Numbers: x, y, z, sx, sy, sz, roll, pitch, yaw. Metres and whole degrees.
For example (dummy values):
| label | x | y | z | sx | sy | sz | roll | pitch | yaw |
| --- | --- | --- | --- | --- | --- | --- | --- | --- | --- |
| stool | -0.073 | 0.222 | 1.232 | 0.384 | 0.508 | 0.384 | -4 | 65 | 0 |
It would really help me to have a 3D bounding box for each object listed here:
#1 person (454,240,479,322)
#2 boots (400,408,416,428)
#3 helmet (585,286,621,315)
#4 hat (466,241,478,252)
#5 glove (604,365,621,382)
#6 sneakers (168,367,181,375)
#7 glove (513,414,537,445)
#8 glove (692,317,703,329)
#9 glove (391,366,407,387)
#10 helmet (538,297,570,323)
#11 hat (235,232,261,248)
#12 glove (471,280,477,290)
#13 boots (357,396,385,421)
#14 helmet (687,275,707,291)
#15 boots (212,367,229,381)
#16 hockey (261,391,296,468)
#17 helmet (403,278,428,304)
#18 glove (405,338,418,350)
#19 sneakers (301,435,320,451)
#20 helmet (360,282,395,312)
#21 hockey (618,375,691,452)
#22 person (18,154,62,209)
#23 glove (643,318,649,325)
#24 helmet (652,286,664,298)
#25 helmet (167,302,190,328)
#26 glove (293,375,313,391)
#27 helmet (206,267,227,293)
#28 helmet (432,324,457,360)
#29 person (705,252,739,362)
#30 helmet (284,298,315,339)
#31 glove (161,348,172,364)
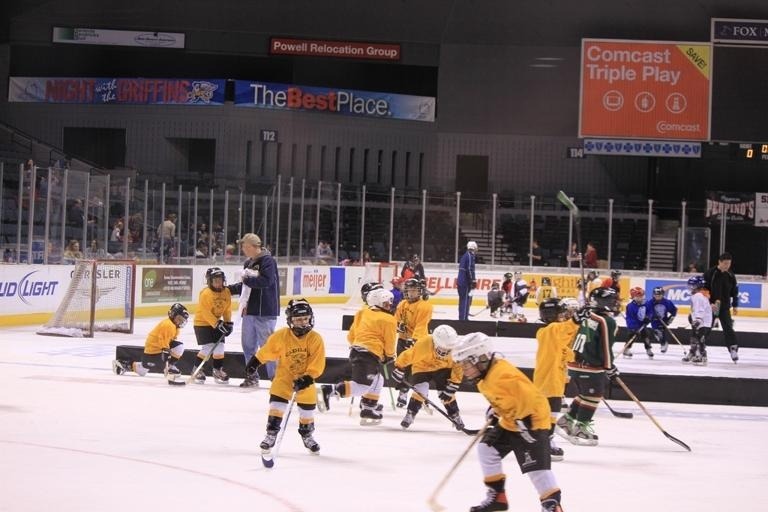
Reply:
| label | x | y | z | sx | sy | sz | roll | pitch | yaw |
| --- | --- | --- | --- | --- | --- | --- | --- | --- | --- |
| person | 2.161 | 0.608 | 23.990 | 0.458 | 2.097 | 1.453 | 2 | -3 | 6 |
| boots | 0.387 | 2.810 | 15.934 | 0.147 | 0.198 | 0.472 | 9 | 33 | 19 |
| helmet | 3.767 | 0.742 | 15.849 | 0.505 | 0.462 | 0.393 | -7 | 12 | -2 |
| hat | 2.322 | -0.253 | 23.592 | 0.367 | 0.333 | 0.324 | -3 | 6 | -19 |
| glove | 3.925 | 2.002 | 15.775 | 0.266 | 0.330 | 0.338 | -2 | -4 | 12 |
| sneakers | -4.038 | 2.176 | 17.589 | 0.212 | 0.140 | 0.122 | -1 | 5 | -8 |
| glove | 2.099 | 2.549 | 13.606 | 0.345 | 0.346 | 0.119 | -10 | -5 | 35 |
| glove | 6.973 | 1.485 | 20.502 | 0.241 | 0.238 | 0.148 | 0 | -4 | 37 |
| glove | 0.285 | 2.206 | 16.450 | 0.149 | 0.401 | 0.285 | -5 | 31 | -13 |
| helmet | 2.831 | 0.904 | 15.439 | 0.417 | 0.434 | 0.315 | 2 | -3 | 12 |
| hat | -3.081 | -0.366 | 20.586 | 0.709 | 0.366 | 0.478 | 6 | -3 | 6 |
| glove | 2.280 | 0.703 | 23.565 | 0.098 | 0.209 | 0.240 | 2 | -3 | 18 |
| boots | -0.227 | 2.669 | 16.129 | 0.405 | 0.400 | 0.265 | 3 | -3 | -10 |
| helmet | 7.129 | 0.595 | 20.920 | 0.366 | 0.337 | 0.306 | 9 | -4 | 10 |
| boots | -3.222 | 2.275 | 17.842 | 0.150 | 0.187 | 0.400 | 1 | 18 | -45 |
| hockey | -1.666 | 2.917 | 14.604 | 0.320 | 1.606 | 0.270 | 27 | -37 | -17 |
| helmet | 0.613 | 0.620 | 17.131 | 0.336 | 0.419 | 0.480 | -1 | 5 | 25 |
| glove | 0.502 | 1.623 | 17.303 | 0.102 | 0.127 | 0.308 | 6 | 11 | 23 |
| sneakers | -1.190 | 3.002 | 14.879 | 0.158 | 0.181 | 0.423 | -6 | 10 | -28 |
| helmet | -0.137 | 0.690 | 16.482 | 0.534 | 0.498 | 0.449 | -6 | 10 | -14 |
| hockey | 4.846 | 2.814 | 16.490 | 1.516 | 0.228 | 0.152 | 40 | -31 | 11 |
| person | -8.390 | -1.664 | 22.372 | 0.915 | 1.076 | 0.513 | 5 | -4 | -37 |
| glove | 6.020 | 1.464 | 21.034 | 0.135 | 0.155 | 0.154 | 2 | -3 | 14 |
| helmet | 6.312 | 0.790 | 21.079 | 0.275 | 0.320 | 0.364 | 1 | -13 | 11 |
| helmet | -3.994 | 1.136 | 17.794 | 0.330 | 0.446 | 0.335 | 3 | -3 | -9 |
| glove | -1.295 | 2.025 | 14.735 | 0.312 | 0.275 | 0.077 | 3 | -3 | -6 |
| helmet | -3.232 | 0.429 | 17.584 | 0.396 | 0.434 | 0.358 | 3 | -3 | -11 |
| helmet | 0.958 | 1.421 | 14.930 | 0.419 | 0.459 | 0.437 | -4 | -36 | -25 |
| person | 7.629 | 1.153 | 20.672 | 0.643 | 2.399 | 0.884 | 1 | -4 | 35 |
| helmet | -1.419 | 0.985 | 15.017 | 0.461 | 0.573 | 0.571 | -8 | -2 | -15 |
| glove | -4.217 | 1.899 | 17.726 | 0.226 | 0.299 | 0.277 | 3 | 7 | -10 |
